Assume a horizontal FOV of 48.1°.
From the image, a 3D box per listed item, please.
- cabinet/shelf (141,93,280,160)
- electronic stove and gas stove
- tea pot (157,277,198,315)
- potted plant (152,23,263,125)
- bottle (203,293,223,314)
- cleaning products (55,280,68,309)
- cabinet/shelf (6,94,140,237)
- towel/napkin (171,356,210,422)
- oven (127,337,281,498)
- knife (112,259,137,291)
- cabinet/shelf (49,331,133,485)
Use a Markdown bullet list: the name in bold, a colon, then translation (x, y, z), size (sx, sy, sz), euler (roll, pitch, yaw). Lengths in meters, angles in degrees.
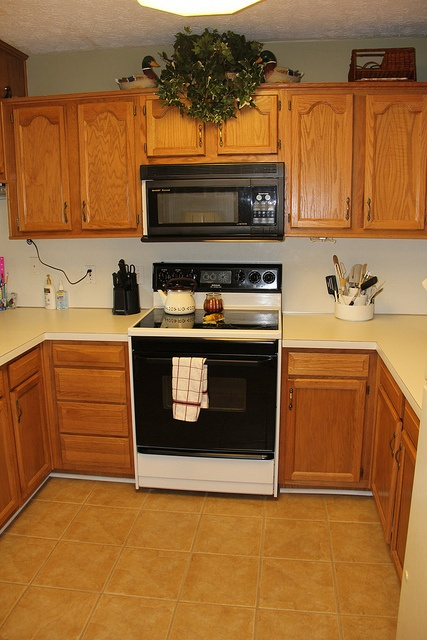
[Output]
- **cabinet/shelf**: translation (-0.010, -0.897, 2.458), size (0.731, 0.389, 0.260), euler (0, -16, 1)
- **electronic stove and gas stove**: translation (-0.030, 0.014, 2.450), size (0.728, 0.071, 0.531), euler (1, 8, 7)
- **tea pot**: translation (-0.176, -0.135, 2.553), size (0.215, 0.205, 0.163), euler (3, 13, 13)
- **potted plant**: translation (-0.020, -1.171, 2.268), size (0.486, 0.472, 0.282), euler (3, 9, 25)
- **bottle**: translation (-0.006, -0.086, 2.560), size (0.098, 0.109, 0.099), euler (-1, 10, -1)
- **cleaning products**: translation (-0.940, -0.139, 2.951), size (0.067, 0.154, 0.047), euler (-4, 8, -22)
- **cabinet/shelf**: translation (-0.711, -0.827, 2.491), size (0.658, 0.666, 0.294), euler (1, 10, 6)
- **towel/napkin**: translation (-0.134, 0.333, 2.216), size (0.171, 0.295, 0.100), euler (7, -9, -23)
- **oven**: translation (-0.032, 0.386, 2.503), size (0.685, 0.850, 0.594), euler (2, 18, 5)
- **knife**: translation (-0.492, -0.248, 2.662), size (0.133, 0.166, 0.098), euler (-3, 8, -16)
- **cabinet/shelf**: translation (-0.603, 0.409, 2.617), size (0.528, 0.857, 0.524), euler (-5, 22, -17)
